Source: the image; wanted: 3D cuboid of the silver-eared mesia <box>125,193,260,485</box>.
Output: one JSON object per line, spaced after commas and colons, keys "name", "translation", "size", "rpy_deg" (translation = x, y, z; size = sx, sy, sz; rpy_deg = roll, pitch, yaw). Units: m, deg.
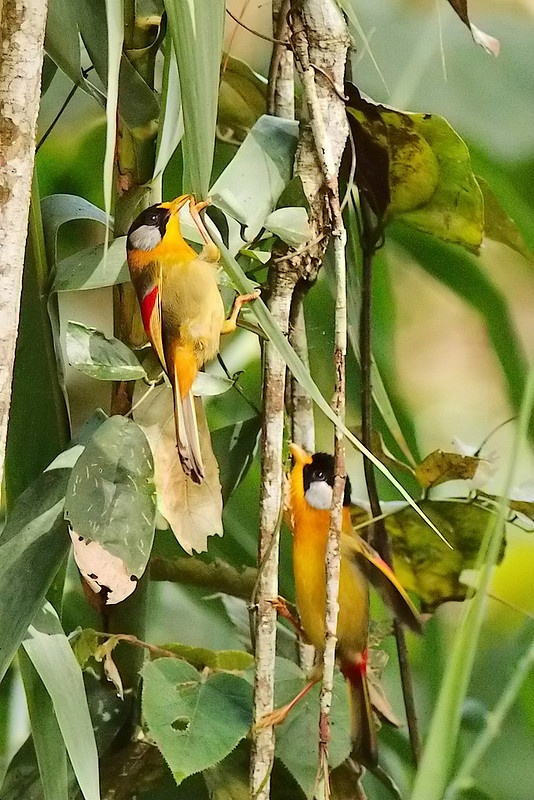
{"name": "silver-eared mesia", "translation": [-0.052, -0.053, 0.643], "size": [0.070, 0.083, 0.195], "rpy_deg": [27, 55, -56]}
